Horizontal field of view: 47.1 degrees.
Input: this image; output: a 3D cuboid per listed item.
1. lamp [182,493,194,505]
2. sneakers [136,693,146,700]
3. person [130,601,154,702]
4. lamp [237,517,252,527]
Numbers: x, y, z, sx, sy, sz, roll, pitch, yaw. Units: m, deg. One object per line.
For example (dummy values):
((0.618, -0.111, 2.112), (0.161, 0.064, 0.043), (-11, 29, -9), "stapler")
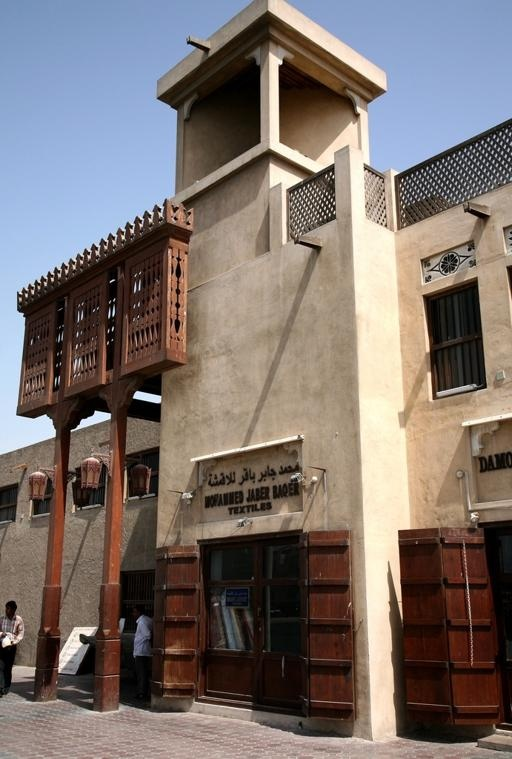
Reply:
((-1.058, 1.797, 8.908), (0.079, 0.163, 0.282), (13, -24, -36), "lamp")
((-1.870, 5.122, 9.487), (0.144, 0.065, 0.485), (4, -22, -11), "sneakers")
((-2.056, 4.814, 10.520), (0.362, 1.407, 2.370), (3, -20, -10), "person")
((-0.166, 1.899, 7.789), (0.283, 0.122, 0.054), (-19, -25, 40), "lamp")
